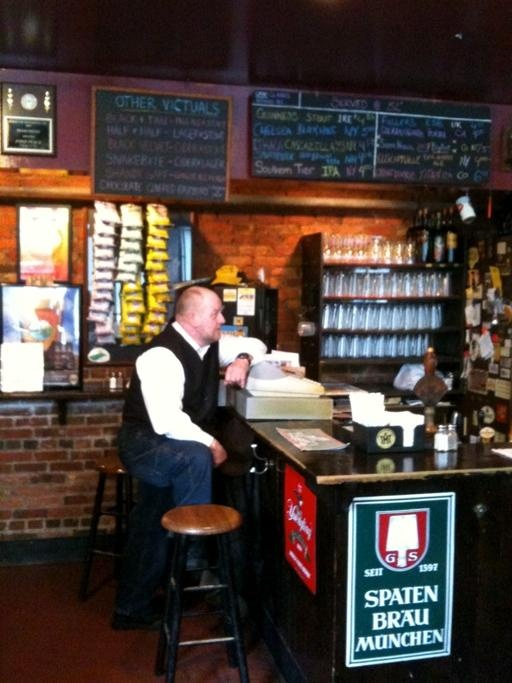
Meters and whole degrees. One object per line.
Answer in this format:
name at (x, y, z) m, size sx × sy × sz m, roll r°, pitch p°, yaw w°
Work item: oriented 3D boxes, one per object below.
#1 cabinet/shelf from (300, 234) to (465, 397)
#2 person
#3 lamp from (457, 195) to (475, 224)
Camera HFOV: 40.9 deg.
cabinet/shelf at (0.817, -0.207, 4.480) m, size 1.217 × 1.091 × 0.386 m, roll 0°, pitch 1°, yaw -13°
person at (-0.196, 0.521, 3.254) m, size 0.719 × 1.464 × 0.639 m, roll -8°, pitch 5°, yaw -23°
lamp at (1.329, -0.849, 4.365) m, size 0.106 × 0.196 × 0.279 m, roll 1°, pitch 4°, yaw 16°
